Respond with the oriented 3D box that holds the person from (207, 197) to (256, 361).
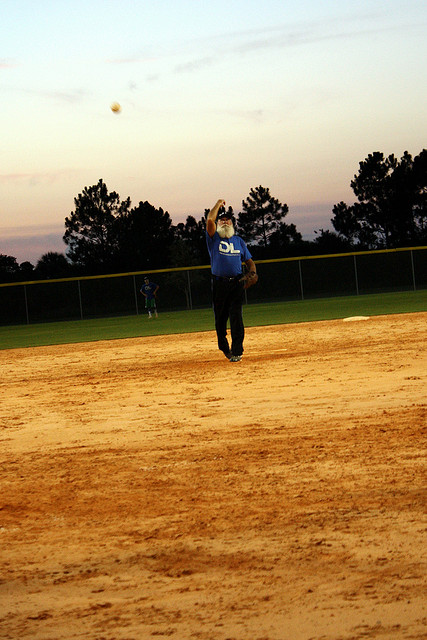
[{"bbox_3d":[0.218,-0.531,7.674,0.532,1.629,0.687,-3,2,13],"label":"person"}]
